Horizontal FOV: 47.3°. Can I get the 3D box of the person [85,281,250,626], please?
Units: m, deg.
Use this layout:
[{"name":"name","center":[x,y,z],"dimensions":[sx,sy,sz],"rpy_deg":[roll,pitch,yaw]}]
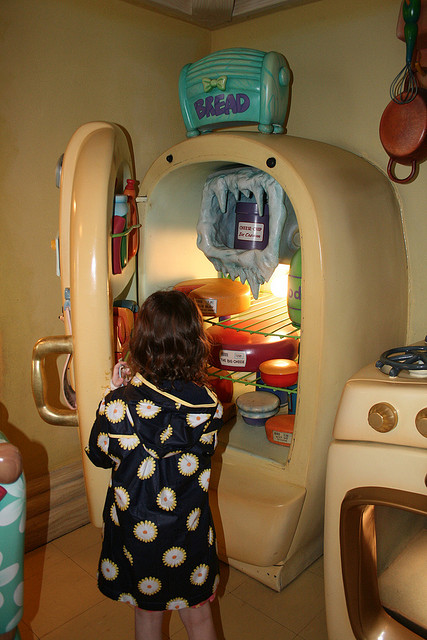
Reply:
[{"name":"person","center":[-0.114,0.330,1.117],"dimensions":[0.390,0.805,0.530],"rpy_deg":[-1,6,4]}]
